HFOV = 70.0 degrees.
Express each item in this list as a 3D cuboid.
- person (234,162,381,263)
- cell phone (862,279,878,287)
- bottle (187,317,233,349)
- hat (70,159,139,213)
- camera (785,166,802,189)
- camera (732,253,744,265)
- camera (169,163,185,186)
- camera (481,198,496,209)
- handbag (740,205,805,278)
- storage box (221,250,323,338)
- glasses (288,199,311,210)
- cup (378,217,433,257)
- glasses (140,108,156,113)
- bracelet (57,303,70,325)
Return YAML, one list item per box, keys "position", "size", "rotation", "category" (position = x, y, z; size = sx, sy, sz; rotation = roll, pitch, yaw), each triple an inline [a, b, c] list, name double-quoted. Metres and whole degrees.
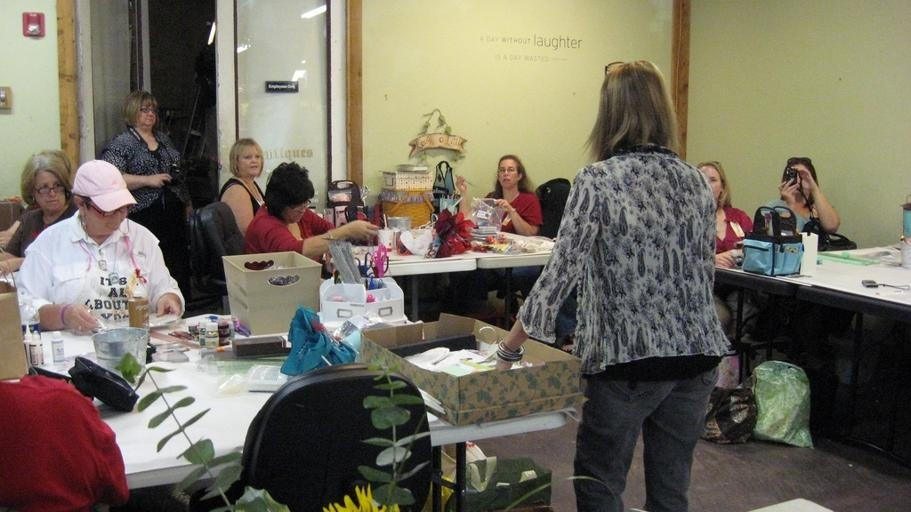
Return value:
- position: [-1.091, -0.324, 4.736]
  size: [0.618, 0.753, 0.715]
  rotation: [7, 14, 28]
  category: "person"
- position: [2.949, 0.188, 4.625]
  size: [0.112, 0.029, 0.119]
  rotation: [2, 12, 8]
  category: "cell phone"
- position: [-1.326, 0.404, 3.553]
  size: [0.182, 0.087, 0.234]
  rotation: [-1, 2, -8]
  category: "bottle"
- position: [-2.008, -0.423, 3.729]
  size: [0.385, 0.175, 0.246]
  rotation: [23, 26, 24]
  category: "hat"
- position: [3.007, -0.736, 5.802]
  size: [0.130, 0.154, 0.059]
  rotation: [-3, 5, 15]
  category: "camera"
- position: [2.189, 0.015, 5.037]
  size: [0.085, 0.075, 0.082]
  rotation: [-2, 3, -7]
  category: "camera"
- position: [-2.689, -0.803, 6.232]
  size: [0.182, 0.189, 0.157]
  rotation: [-13, 28, -44]
  category: "camera"
- position: [0.310, -0.525, 6.134]
  size: [0.126, 0.069, 0.119]
  rotation: [0, 1, 0]
  category: "camera"
- position: [2.497, -0.154, 5.074]
  size: [0.412, 0.449, 0.834]
  rotation: [7, 14, 28]
  category: "handbag"
- position: [-1.053, 0.193, 3.710]
  size: [0.455, 0.369, 0.511]
  rotation: [-6, 14, -25]
  category: "storage box"
- position: [-1.118, -0.383, 4.582]
  size: [0.131, 0.034, 0.125]
  rotation: [2, 10, 23]
  category: "glasses"
- position: [-0.450, -0.181, 5.505]
  size: [0.327, 0.190, 0.427]
  rotation: [-3, 8, -26]
  category: "cup"
- position: [-2.889, -1.391, 6.050]
  size: [0.073, 0.021, 0.072]
  rotation: [-3, 1, 44]
  category: "glasses"
- position: [-2.159, 0.322, 3.571]
  size: [0.076, 0.121, 0.036]
  rotation: [8, 15, 33]
  category: "bracelet"
